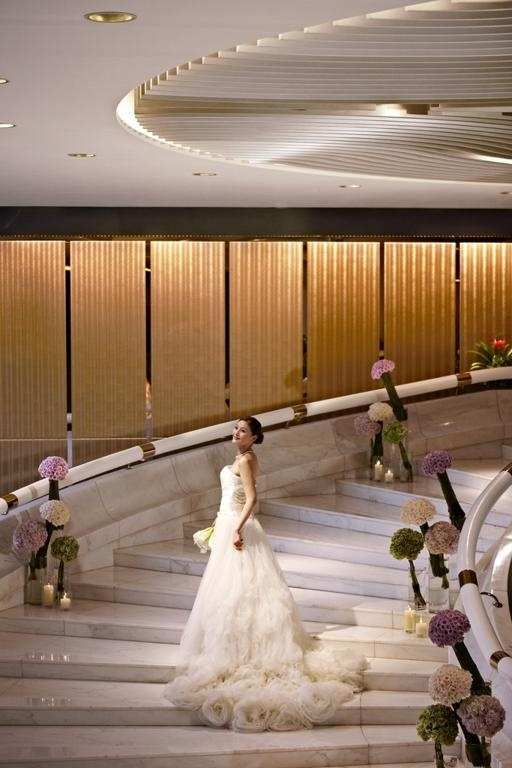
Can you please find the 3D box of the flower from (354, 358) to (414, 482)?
[{"bbox_3d":[1.367,0.374,6.987,0.445,1.259,1.253,-8,0,13],"label":"flower"}]

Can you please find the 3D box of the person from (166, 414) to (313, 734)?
[{"bbox_3d":[-0.156,1.233,4.107,0.788,1.814,0.710,-8,0,12],"label":"person"}]

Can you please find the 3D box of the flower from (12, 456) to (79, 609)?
[{"bbox_3d":[-1.616,1.141,5.052,0.476,1.162,0.496,-8,0,-18],"label":"flower"}]
